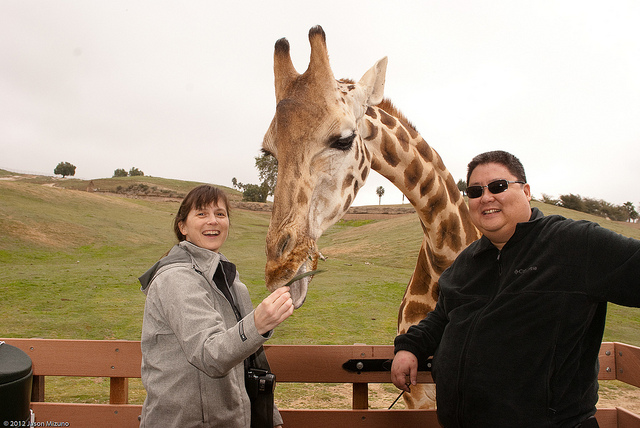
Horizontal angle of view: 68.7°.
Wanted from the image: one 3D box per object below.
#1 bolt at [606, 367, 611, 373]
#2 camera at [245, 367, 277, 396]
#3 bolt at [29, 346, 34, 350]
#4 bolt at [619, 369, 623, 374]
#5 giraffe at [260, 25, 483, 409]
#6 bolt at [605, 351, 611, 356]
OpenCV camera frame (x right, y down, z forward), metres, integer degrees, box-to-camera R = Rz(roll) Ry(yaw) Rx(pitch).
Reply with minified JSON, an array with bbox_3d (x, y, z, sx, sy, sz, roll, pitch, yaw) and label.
[{"bbox_3d":[2.656,1.428,4.310,0.046,0.050,0.013,-4,-7,41],"label":"bolt"},{"bbox_3d":[-0.466,1.317,3.698,0.237,0.208,0.222,3,-13,-2],"label":"camera"},{"bbox_3d":[-2.754,1.268,4.461,0.040,0.039,0.006,7,-3,-6],"label":"bolt"},{"bbox_3d":[2.746,1.426,4.263,0.046,0.050,0.011,-10,-10,43],"label":"bolt"},{"bbox_3d":[0.411,0.137,4.785,2.280,2.764,0.889,9,-4,-36],"label":"giraffe"},{"bbox_3d":[2.655,1.280,4.314,0.035,0.025,0.032,4,-13,-2],"label":"bolt"}]
